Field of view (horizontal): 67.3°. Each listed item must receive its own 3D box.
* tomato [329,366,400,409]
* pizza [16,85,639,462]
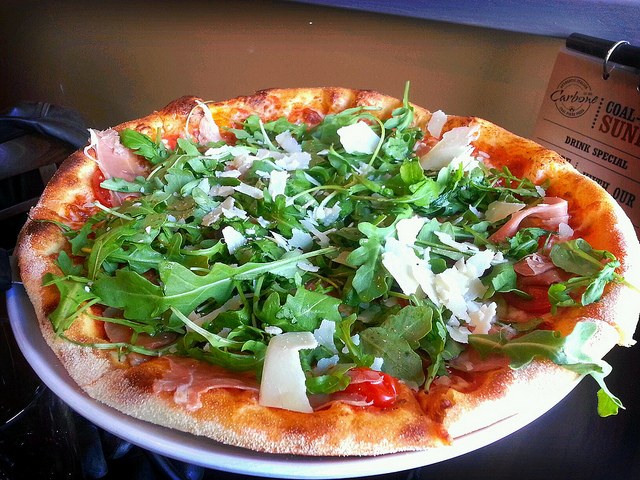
[{"bbox_3d":[0.116,0.310,1.060,0.113,0.032,0.105,11,30,27],"label":"tomato"},{"bbox_3d":[0.002,-0.042,1.333,1.658,0.259,1.201,9,45,7],"label":"pizza"}]
